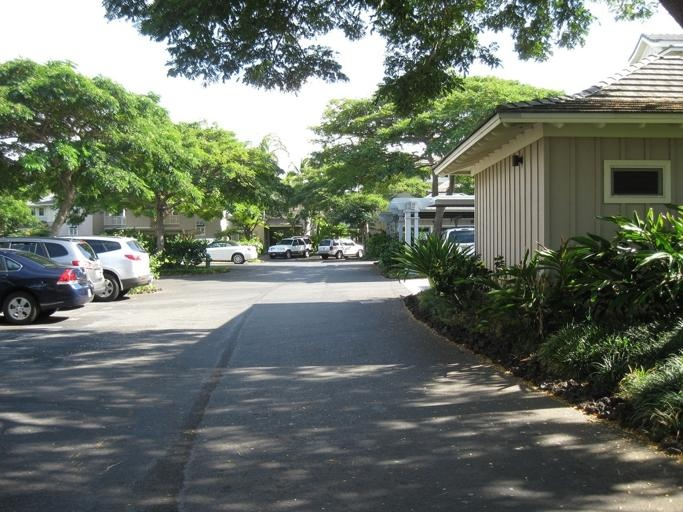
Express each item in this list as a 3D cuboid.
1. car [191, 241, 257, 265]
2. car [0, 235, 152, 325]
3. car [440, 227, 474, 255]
[{"bbox_3d":[-7.613,-0.232,44.020,2.995,1.393,1.240,0,6,15],"label":"car"},{"bbox_3d":[-7.053,0.422,17.807,2.103,2.059,4.202,-1,5,2],"label":"car"},{"bbox_3d":[4.244,-0.624,22.538,1.214,1.066,2.002,-1,7,-4],"label":"car"}]
